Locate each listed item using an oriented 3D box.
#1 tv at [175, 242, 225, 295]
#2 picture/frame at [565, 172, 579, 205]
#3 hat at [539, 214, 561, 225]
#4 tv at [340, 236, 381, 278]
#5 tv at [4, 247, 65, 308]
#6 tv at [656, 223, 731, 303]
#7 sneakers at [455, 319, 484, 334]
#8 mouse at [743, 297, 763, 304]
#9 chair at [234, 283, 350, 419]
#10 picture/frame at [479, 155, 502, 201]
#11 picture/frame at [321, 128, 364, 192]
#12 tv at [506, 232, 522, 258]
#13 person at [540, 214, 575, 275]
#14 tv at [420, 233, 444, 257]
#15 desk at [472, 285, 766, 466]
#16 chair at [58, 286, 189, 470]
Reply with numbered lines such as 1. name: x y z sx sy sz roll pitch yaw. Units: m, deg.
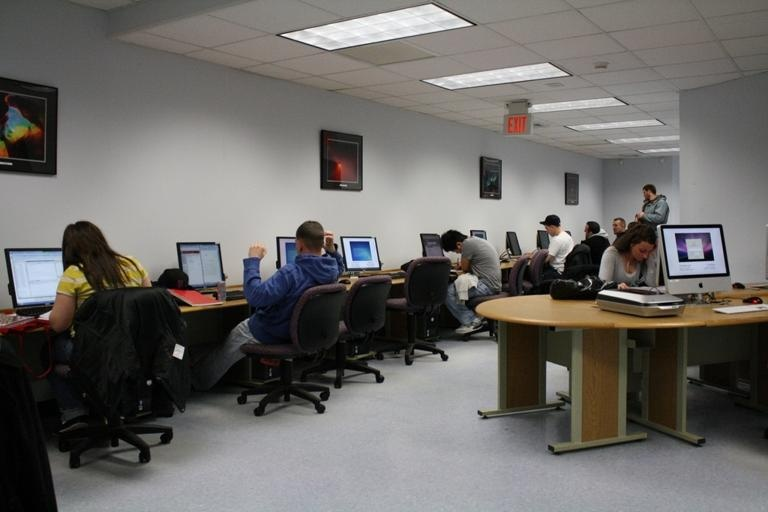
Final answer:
1. tv: -1.886 0.099 5.411 0.605 0.525 0.082 -3 10 26
2. picture/frame: 4.503 -1.642 12.445 0.097 0.969 0.827 0 0 35
3. hat: 2.660 -0.573 8.241 0.190 0.162 0.554 1 7 10
4. tv: -0.327 -0.034 7.192 0.066 0.499 0.681 -15 -9 41
5. tv: -2.756 0.165 4.098 0.073 0.348 0.477 -7 0 24
6. tv: 2.471 0.021 4.205 0.613 0.550 0.220 -2 -4 -13
7. sneakers: 1.193 0.968 7.201 0.416 0.178 0.162 -7 0 -8
8. mouse: 3.042 0.363 4.261 0.126 0.046 0.090 -3 3 -14
9. chair: -0.818 0.782 4.984 1.095 1.255 1.024 4 0 22
10. picture/frame: 2.010 -1.508 9.859 0.123 0.869 0.903 -1 -2 35
11. picture/frame: -0.603 -1.338 7.118 0.924 0.927 0.094 1 -2 -40
12. tv: 2.497 -0.220 10.020 0.172 0.374 0.528 0 1 23
13. person: 2.693 -0.172 8.420 0.698 0.996 0.667 4 13 20
14. tv: 0.741 -0.178 7.982 0.369 0.373 0.196 -1 -3 -42
15. desk: 1.632 0.877 3.982 1.806 1.008 1.059 1 7 8
16. chair: -1.858 0.821 3.730 0.732 1.177 0.805 -2 -6 19
